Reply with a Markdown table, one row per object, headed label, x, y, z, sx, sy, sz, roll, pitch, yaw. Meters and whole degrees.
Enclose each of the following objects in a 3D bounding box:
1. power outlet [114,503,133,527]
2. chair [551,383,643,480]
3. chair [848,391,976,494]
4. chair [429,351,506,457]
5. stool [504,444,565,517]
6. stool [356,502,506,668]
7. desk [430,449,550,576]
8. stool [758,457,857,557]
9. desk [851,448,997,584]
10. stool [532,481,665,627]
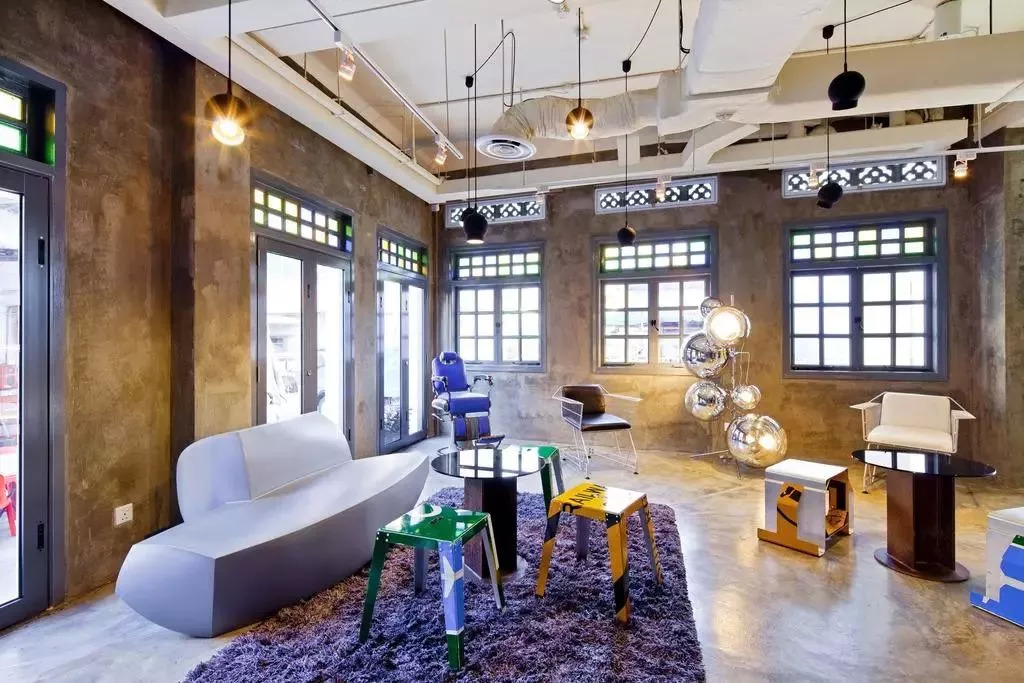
| label | x | y | z | sx | sy | sz | roll | pitch | yaw |
| --- | --- | --- | --- | --- | --- | --- | --- | --- | --- |
| power outlet | -3.387 | 1.511 | 6.283 | 0.030 | 0.217 | 0.224 | 3 | 0 | 34 |
| chair | 0.982 | 1.042 | 8.681 | 0.885 | 0.909 | 1.076 | -1 | 5 | -30 |
| chair | 4.352 | 1.114 | 7.968 | 1.069 | 1.026 | 0.742 | 4 | 10 | 27 |
| chair | -0.625 | 0.748 | 8.963 | 0.757 | 1.147 | 0.968 | -3 | 5 | -35 |
| stool | 0.199 | 1.271 | 6.799 | 0.555 | 0.526 | 0.564 | -2 | -9 | 11 |
| stool | -0.622 | 1.875 | 5.854 | 1.242 | 0.884 | 1.221 | -2 | 7 | -21 |
| desk | -0.150 | 1.482 | 6.570 | 1.037 | 0.778 | 0.987 | 0 | -3 | -30 |
| stool | 2.753 | 1.503 | 6.846 | 0.779 | 0.681 | 0.686 | -12 | 12 | -35 |
| desk | 3.736 | 1.555 | 6.279 | 1.274 | 0.924 | 0.847 | 12 | -8 | -28 |
| stool | 0.736 | 1.728 | 6.165 | 0.889 | 0.834 | 0.954 | 2 | 6 | 27 |
